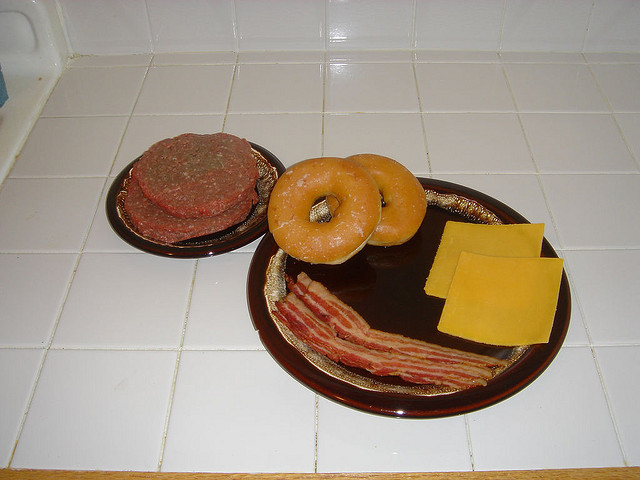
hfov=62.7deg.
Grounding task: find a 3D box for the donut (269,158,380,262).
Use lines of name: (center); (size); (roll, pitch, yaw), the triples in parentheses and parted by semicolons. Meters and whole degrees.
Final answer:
donut: (0.007, -0.046, 0.933); (0.192, 0.121, 0.156); (-2, 56, -1)
